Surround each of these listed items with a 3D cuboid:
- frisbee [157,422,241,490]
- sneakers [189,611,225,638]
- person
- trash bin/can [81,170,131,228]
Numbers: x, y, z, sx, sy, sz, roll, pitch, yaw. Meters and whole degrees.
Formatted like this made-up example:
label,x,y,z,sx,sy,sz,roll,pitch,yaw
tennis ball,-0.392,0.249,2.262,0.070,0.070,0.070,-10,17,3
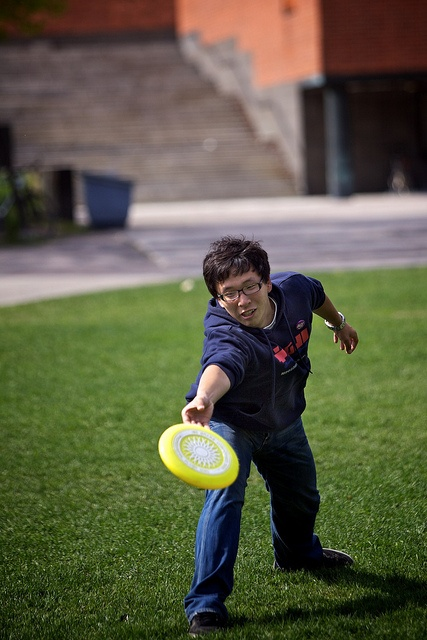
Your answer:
label,x,y,z,sx,sy,sz,roll,pitch,yaw
frisbee,-0.041,0.336,1.633,0.195,0.055,0.183,19,29,-14
sneakers,-0.021,0.818,1.729,0.119,0.047,0.042,19,2,-37
person,0.151,0.348,2.095,0.340,0.943,0.907,-2,1,21
trash bin/can,-2.642,-2.978,15.974,1.195,1.307,2.373,-3,1,-7
